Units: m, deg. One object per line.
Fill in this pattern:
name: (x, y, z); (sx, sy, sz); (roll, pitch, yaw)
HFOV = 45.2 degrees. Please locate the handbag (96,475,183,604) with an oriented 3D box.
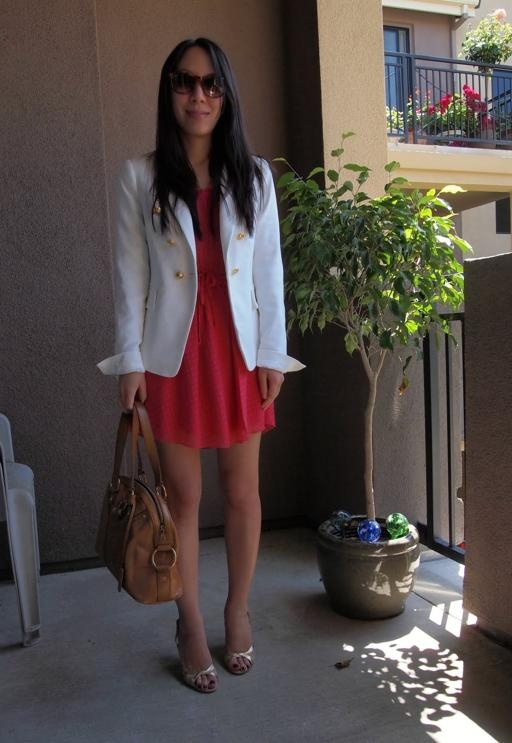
handbag: (-0.283, 0.330, 1.435); (0.136, 0.328, 0.327); (3, 2, -31)

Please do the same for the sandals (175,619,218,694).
sandals: (-0.153, 0.736, 1.558); (0.062, 0.081, 0.189); (1, -5, -17)

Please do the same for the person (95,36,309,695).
person: (-0.130, 0.001, 1.522); (0.501, 1.393, 0.264); (-2, 1, -17)

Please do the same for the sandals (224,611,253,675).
sandals: (-0.046, 0.716, 1.595); (0.048, 0.072, 0.167); (0, 2, -2)
